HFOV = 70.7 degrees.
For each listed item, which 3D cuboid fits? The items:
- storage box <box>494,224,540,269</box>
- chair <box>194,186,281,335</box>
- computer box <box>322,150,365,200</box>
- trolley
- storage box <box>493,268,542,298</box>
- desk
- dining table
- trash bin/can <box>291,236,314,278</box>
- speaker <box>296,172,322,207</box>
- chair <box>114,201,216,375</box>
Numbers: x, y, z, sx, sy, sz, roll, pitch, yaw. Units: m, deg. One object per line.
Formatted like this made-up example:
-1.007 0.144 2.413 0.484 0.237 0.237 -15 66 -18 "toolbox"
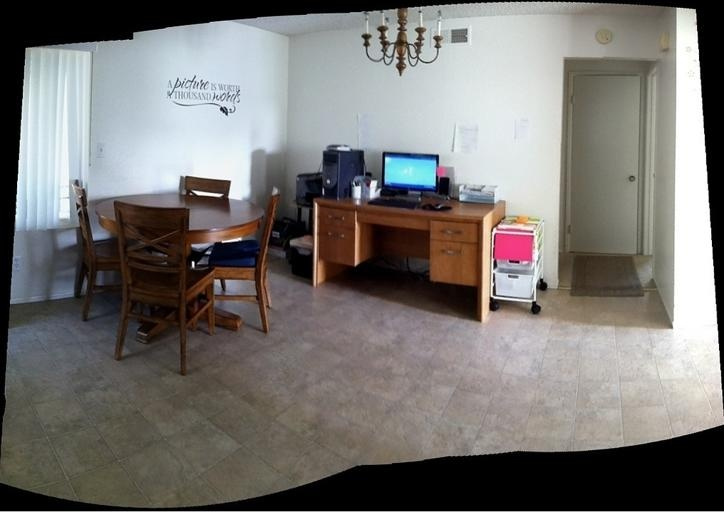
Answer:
1.226 -0.127 4.142 0.368 0.352 0.284 8 16 32 "storage box"
-0.922 -0.003 3.901 0.649 0.938 0.706 11 16 22 "chair"
-0.175 -0.784 4.834 0.248 0.430 0.414 11 15 36 "computer box"
1.310 0.057 4.270 0.439 0.691 0.496 4 16 29 "trolley"
1.235 0.200 4.137 0.250 0.162 0.258 1 3 22 "storage box"
0.384 -0.069 4.512 1.638 0.842 0.691 7 15 29 "desk"
-1.333 0.210 3.987 1.121 0.900 1.255 10 21 14 "dining table"
-0.564 0.016 4.892 0.255 0.330 0.337 7 10 26 "trash bin/can"
-0.541 -0.691 5.172 0.312 0.321 0.329 3 11 15 "speaker"
-1.297 0.131 3.412 0.590 1.043 0.656 10 16 15 "chair"
